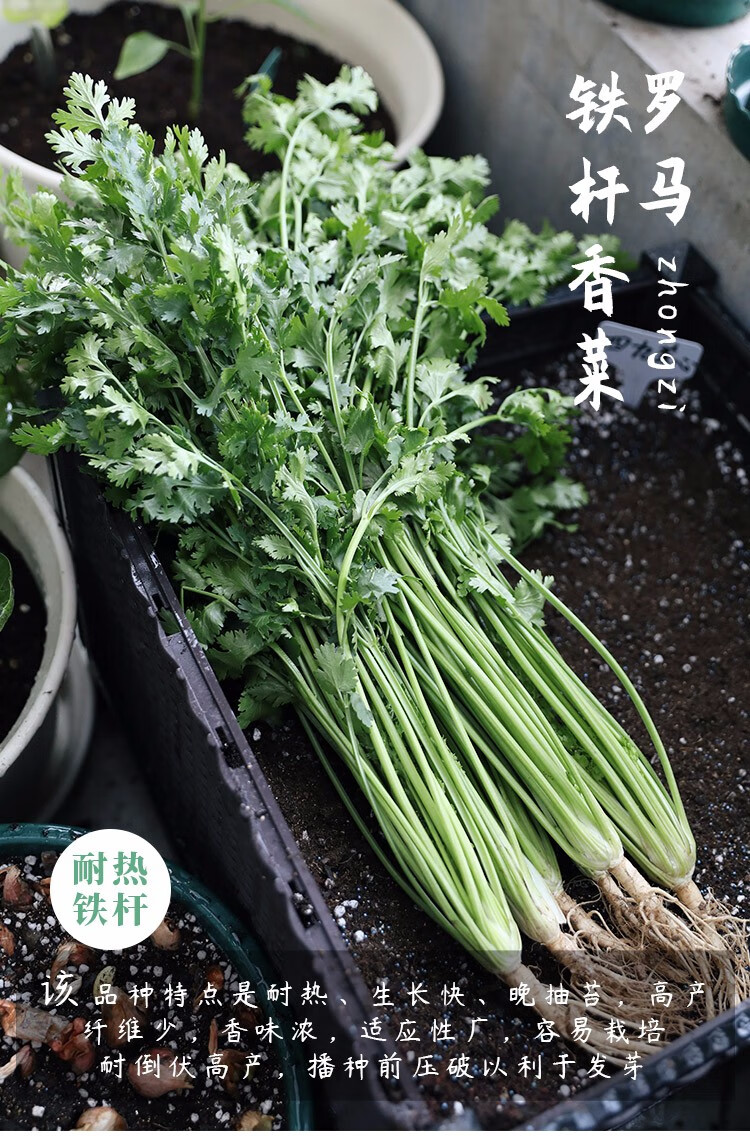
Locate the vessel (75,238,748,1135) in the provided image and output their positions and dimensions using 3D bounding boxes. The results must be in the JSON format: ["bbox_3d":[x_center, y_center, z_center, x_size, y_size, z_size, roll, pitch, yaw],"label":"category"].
[{"bbox_3d":[0.035,0.149,1.161,0.784,0.469,0.754,-26,63,-21],"label":"vessel"}]
